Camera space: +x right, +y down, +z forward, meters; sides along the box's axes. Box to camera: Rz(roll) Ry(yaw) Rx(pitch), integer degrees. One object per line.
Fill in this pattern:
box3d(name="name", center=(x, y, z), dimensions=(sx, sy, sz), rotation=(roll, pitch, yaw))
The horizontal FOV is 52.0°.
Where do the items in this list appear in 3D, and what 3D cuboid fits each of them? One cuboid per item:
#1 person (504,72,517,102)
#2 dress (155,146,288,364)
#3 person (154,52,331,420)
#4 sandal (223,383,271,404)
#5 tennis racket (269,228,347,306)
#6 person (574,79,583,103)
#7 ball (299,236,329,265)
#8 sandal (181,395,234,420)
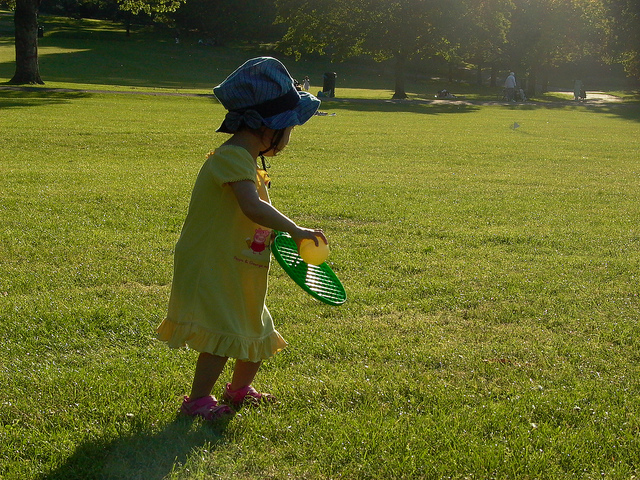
box3d(name="person", center=(10.993, -8.856, 38.223), dimensions=(0.622, 1.565, 1.908), rotation=(8, 15, 16))
box3d(name="dress", center=(-0.773, -0.016, 5.450), dimensions=(1.049, 2.019, 1.423), rotation=(0, 3, -13))
box3d(name="person", center=(-0.628, -0.026, 4.817), dimensions=(1.056, 2.555, 0.702), rotation=(2, 13, -7))
box3d(name="sandal", center=(-0.536, 1.147, 4.961), dimensions=(0.373, 0.211, 0.143), rotation=(-1, 4, -4))
box3d(name="tennis racket", center=(-0.141, 0.261, 5.509), dimensions=(0.484, 0.061, 0.880), rotation=(53, 9, 21))
box3d(name="person", center=(16.730, -9.723, 42.861), dimensions=(0.475, 1.155, 1.751), rotation=(9, 16, 19))
box3d(name="ball", center=(-0.049, 0.097, 4.674), dimensions=(0.177, 0.232, 0.196), rotation=(3, 57, -4))
box3d(name="sandal", center=(-0.816, 1.206, 4.795), dimensions=(0.363, 0.197, 0.155), rotation=(6, 1, -5))
